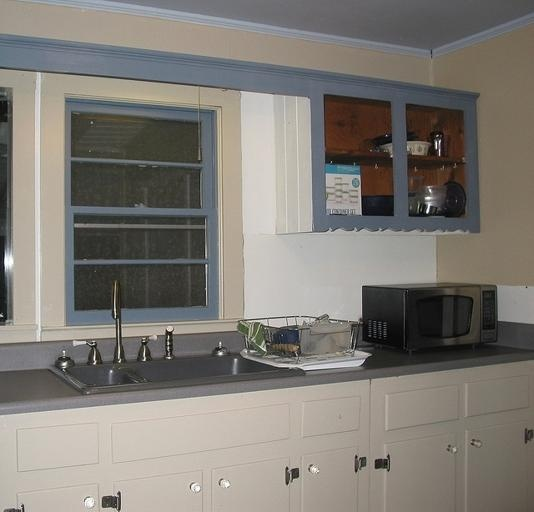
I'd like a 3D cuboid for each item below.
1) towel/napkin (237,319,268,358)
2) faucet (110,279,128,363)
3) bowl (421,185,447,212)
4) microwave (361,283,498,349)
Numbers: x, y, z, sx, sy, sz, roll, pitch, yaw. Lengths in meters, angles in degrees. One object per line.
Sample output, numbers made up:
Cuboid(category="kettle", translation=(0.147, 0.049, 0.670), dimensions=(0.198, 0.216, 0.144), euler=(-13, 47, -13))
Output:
Cuboid(category="towel/napkin", translation=(-0.061, 0.345, 2.678), dimensions=(0.127, 0.158, 0.121), euler=(-3, 10, 17))
Cuboid(category="faucet", translation=(-0.615, 0.270, 2.525), dimensions=(0.050, 0.284, 0.108), euler=(-2, -1, -14))
Cuboid(category="bowl", translation=(0.812, -0.273, 2.932), dimensions=(0.110, 0.134, 0.114), euler=(1, 2, 0))
Cuboid(category="microwave", translation=(0.753, 0.278, 2.861), dimensions=(0.630, 0.305, 0.374), euler=(-3, -1, 20))
